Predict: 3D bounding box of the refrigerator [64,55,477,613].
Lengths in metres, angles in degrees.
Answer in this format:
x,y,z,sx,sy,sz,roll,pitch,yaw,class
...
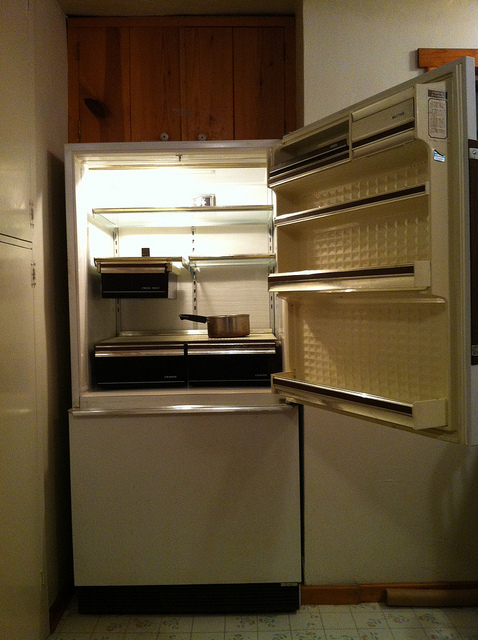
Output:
x,y,z,sx,sy,sz,roll,pitch,yaw,class
0.065,0.230,2.128,1.652,1.854,0.923,1,6,32,refrigerator

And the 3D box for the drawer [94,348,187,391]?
x,y,z,sx,sy,sz,roll,pitch,yaw,class
-0.390,0.195,2.267,0.234,0.156,0.194,-1,-3,-1,drawer
